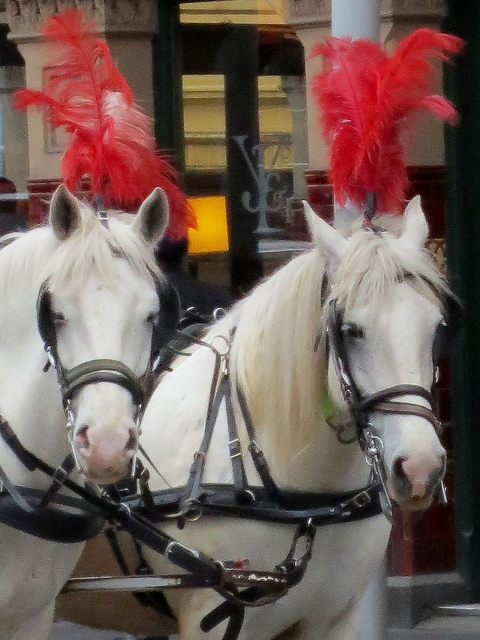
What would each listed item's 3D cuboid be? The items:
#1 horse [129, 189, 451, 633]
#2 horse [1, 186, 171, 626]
[{"bbox_3d":[0.147,0.359,5.113,1.086,1.513,0.839,0,5,11],"label":"horse"},{"bbox_3d":[-0.501,0.152,4.871,0.581,1.153,0.470,2,6,32],"label":"horse"}]
